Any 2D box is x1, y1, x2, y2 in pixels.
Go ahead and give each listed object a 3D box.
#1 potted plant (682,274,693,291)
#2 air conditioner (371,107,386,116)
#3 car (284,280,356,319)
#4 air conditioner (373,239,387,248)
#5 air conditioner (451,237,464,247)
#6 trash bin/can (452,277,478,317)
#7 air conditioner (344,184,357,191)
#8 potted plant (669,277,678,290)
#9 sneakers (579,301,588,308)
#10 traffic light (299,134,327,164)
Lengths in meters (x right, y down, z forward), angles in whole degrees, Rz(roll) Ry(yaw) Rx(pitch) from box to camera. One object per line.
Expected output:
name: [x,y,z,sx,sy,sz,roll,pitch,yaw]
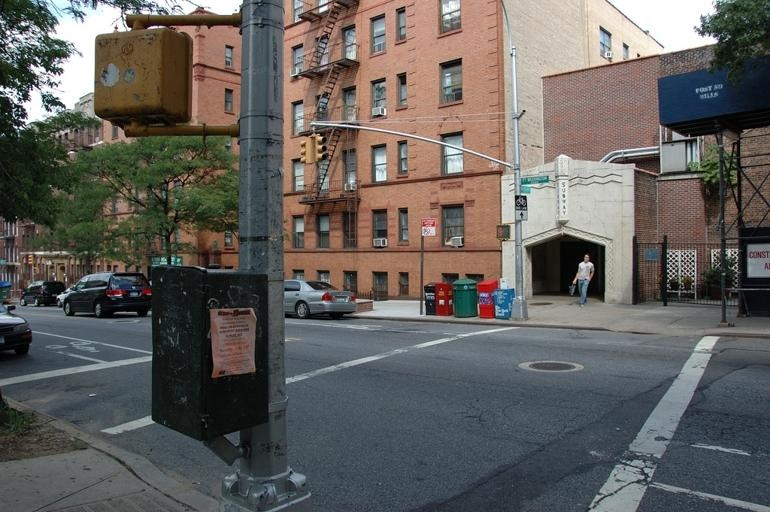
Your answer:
potted plant: [12.261,1.109,28.989,0.460,0.580,0.476,3,-4,-3]
air conditioner: [-0.340,-7.269,36.072,0.494,0.314,0.500,-1,-1,2]
car: [-2.797,1.713,28.572,2.813,1.402,1.301,-1,-1,36]
air conditioner: [-0.246,-0.633,36.276,0.447,0.465,0.728,3,-4,-44]
air conditioner: [3.325,-0.636,33.194,0.620,0.440,0.432,2,5,19]
trash bin/can: [3.000,1.590,26.637,0.916,1.426,0.744,-1,0,1]
air conditioner: [-1.826,-3.653,37.375,0.599,0.478,0.304,-1,0,-2]
potted plant: [11.801,1.156,29.226,0.469,0.571,0.161,-1,-1,43]
sneakers: [7.691,1.922,27.960,0.141,0.195,0.450,-5,-10,28]
traffic light: [-2.414,-3.637,23.758,0.766,0.913,1.891,-1,-1,-8]
